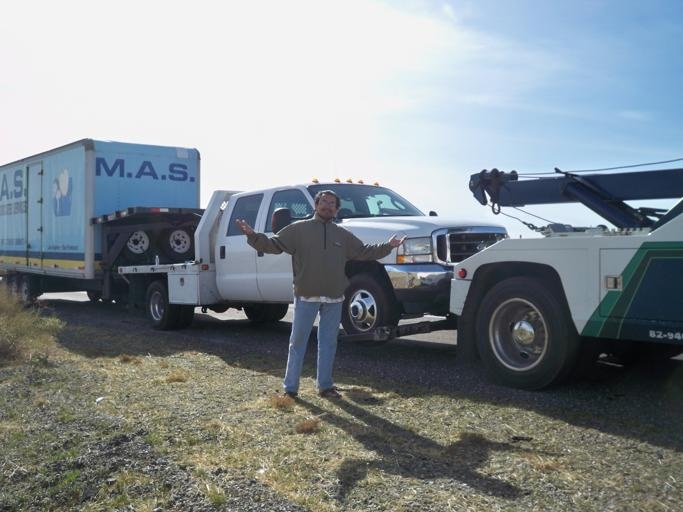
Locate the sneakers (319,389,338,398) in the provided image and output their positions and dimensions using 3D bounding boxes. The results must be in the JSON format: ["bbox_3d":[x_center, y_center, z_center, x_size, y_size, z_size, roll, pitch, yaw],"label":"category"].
[{"bbox_3d":[-0.141,1.502,5.692,0.212,0.102,0.082,-4,-4,23],"label":"sneakers"}]
